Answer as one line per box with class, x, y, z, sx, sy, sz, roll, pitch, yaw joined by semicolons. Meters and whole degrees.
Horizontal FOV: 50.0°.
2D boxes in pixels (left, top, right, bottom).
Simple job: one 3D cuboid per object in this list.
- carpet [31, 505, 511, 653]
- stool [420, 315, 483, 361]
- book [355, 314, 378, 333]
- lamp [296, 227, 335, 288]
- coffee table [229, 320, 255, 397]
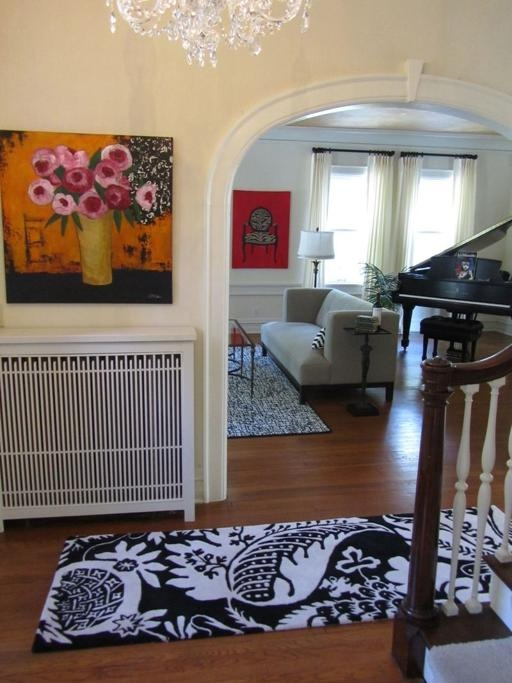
carpet;-0.070;1.036;2.491;1.643;0.027;0.806;-1;11;-9
stool;2.280;-0.043;6.402;0.545;0.598;0.633;2;7;6
book;0.974;-0.153;4.741;0.213;0.136;0.227;1;11;-1
lamp;0.816;-1.110;7.425;0.459;0.795;0.877;3;11;8
coffee table;-0.162;0.202;5.942;0.268;0.294;0.816;-3;22;-9
